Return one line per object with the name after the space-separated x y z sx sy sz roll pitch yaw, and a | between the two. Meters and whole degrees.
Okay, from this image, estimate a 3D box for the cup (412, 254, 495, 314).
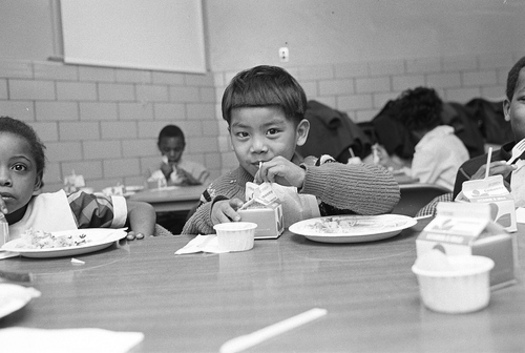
0.365 0.209 0.782 0.157 0.084 0.155 -6 -4 0 | cup

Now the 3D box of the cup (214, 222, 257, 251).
-0.058 0.176 1.182 0.121 0.058 0.122 -6 -3 0 | cup

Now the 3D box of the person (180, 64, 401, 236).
0.081 0.014 1.578 0.834 0.783 0.569 -1 2 6 | person
